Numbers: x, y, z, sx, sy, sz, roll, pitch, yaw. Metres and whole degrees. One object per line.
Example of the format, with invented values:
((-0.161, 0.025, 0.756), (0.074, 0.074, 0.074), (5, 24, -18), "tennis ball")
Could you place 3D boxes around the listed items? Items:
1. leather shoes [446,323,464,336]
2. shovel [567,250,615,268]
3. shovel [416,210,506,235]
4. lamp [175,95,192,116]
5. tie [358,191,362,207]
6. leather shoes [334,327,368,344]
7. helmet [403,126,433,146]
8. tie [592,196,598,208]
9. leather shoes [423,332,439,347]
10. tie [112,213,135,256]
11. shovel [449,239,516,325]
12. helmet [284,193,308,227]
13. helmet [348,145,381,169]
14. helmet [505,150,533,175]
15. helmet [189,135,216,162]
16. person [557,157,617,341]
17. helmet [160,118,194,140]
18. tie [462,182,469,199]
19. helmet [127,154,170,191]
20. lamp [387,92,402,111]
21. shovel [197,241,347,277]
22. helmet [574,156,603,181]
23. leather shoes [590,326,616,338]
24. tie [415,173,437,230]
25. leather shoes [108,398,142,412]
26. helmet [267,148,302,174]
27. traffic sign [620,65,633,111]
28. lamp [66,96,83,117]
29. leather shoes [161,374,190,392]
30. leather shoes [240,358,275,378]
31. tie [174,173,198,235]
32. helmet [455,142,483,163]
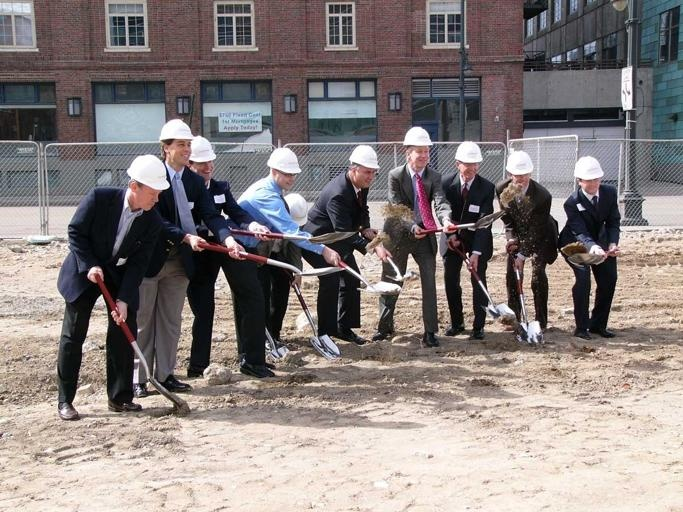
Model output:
((1.762, 1.138, 17.847), (0.335, 0.128, 0.120), (1, 1, -35), "leather shoes")
((3.678, 0.018, 17.161), (0.694, 0.235, 0.111), (-3, 44, -4), "shovel")
((1.747, -0.525, 17.361), (1.410, 0.221, 0.244), (-8, 9, 30), "shovel")
((-4.551, -4.440, 34.160), (0.587, 0.576, 0.310), (4, 8, 44), "lamp")
((0.295, -0.856, 17.236), (0.037, 0.229, 0.181), (0, 6, 15), "tie")
((0.148, 1.211, 17.598), (0.589, 0.195, 0.188), (18, 3, 3), "leather shoes")
((1.102, -1.786, 17.172), (0.331, 0.205, 0.410), (-2, 6, -16), "helmet")
((3.810, -0.826, 17.408), (0.090, 0.161, 0.018), (-2, 6, -10), "tie")
((1.335, 1.231, 17.294), (0.271, 0.208, 0.205), (0, 6, 12), "leather shoes")
((-2.815, -0.323, 15.102), (0.170, 0.600, 0.164), (22, 5, -14), "tie")
((2.067, 0.208, 17.755), (0.488, 0.290, 1.906), (-14, 55, -23), "shovel")
((-0.694, -0.715, 17.503), (0.256, 0.460, 0.351), (-44, -17, 29), "helmet")
((0.336, -1.442, 16.858), (0.327, 0.214, 0.397), (4, 12, -42), "helmet")
((2.665, -1.408, 17.429), (0.361, 0.247, 0.478), (-4, 7, 0), "helmet")
((-1.941, -1.499, 16.289), (0.298, 0.200, 0.390), (-11, 8, -27), "helmet")
((3.751, -0.134, 17.457), (0.893, 2.707, 0.756), (-1, 6, 8), "person")
((-2.252, -1.698, 15.583), (0.310, 0.189, 0.385), (0, 0, -44), "helmet")
((1.886, -0.990, 17.487), (0.083, 0.220, 0.106), (-3, 6, -10), "tie")
((-2.428, -1.095, 14.921), (0.528, 0.265, 0.407), (18, 30, 9), "helmet")
((1.616, -4.596, 34.489), (0.404, 0.572, 0.103), (-1, 6, 1), "lamp")
((-0.988, 0.061, 15.834), (1.754, 0.180, 0.670), (7, -9, 1), "shovel")
((3.682, -1.320, 17.371), (0.346, 0.207, 0.417), (-7, 8, 1), "helmet")
((3.989, 1.141, 17.597), (0.401, 0.149, 0.139), (4, 8, 33), "leather shoes")
((1.246, -0.776, 17.349), (0.241, 0.956, 0.065), (-16, 3, -14), "tie")
((-2.848, 1.978, 15.419), (0.461, 0.175, 0.156), (1, 0, -3), "leather shoes")
((-0.814, -1.363, 16.449), (0.341, 0.217, 0.448), (4, 6, -41), "helmet")
((6.020, -3.537, 24.296), (0.201, 0.918, 0.667), (0, 6, 10), "traffic sign")
((-7.795, -4.382, 34.048), (0.411, 0.569, 0.138), (-2, 6, -10), "lamp")
((-2.250, 1.739, 15.863), (0.486, 0.198, 0.171), (4, 1, 2), "leather shoes")
((-1.166, 1.564, 16.275), (0.604, 0.245, 0.198), (3, 6, 13), "leather shoes")
((-2.121, -0.713, 15.708), (0.291, 0.826, 0.150), (-2, 6, -8), "tie")
((1.904, -1.561, 17.382), (0.317, 0.200, 0.400), (1, 10, -6), "helmet")
